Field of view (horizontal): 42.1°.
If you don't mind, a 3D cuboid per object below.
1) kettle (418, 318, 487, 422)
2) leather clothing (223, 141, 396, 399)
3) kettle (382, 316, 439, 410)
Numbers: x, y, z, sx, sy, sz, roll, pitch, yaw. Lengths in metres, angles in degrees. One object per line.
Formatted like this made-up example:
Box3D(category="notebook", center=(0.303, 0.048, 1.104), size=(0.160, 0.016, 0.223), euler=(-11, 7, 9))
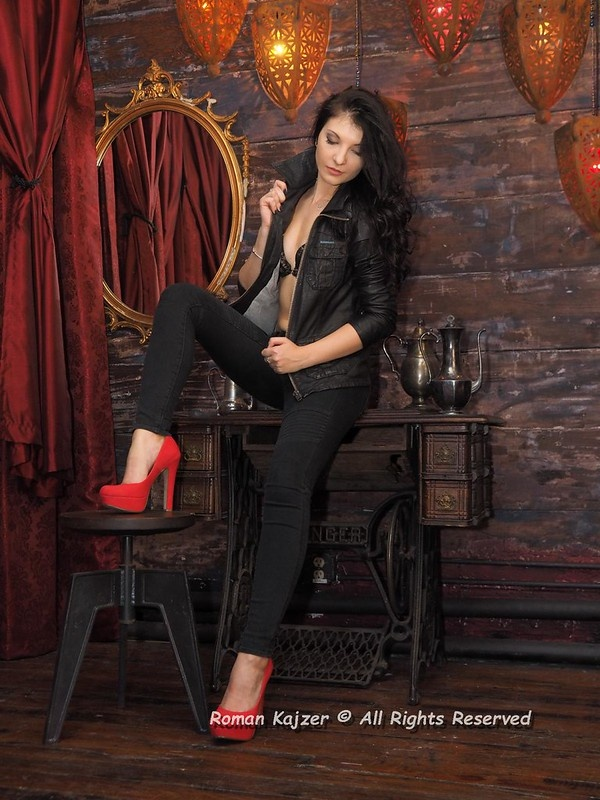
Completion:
Box3D(category="kettle", center=(0.437, -0.098, 2.186), size=(0.171, 0.264, 0.124), euler=(0, 2, -22))
Box3D(category="leather clothing", center=(0.069, -0.317, 2.025), size=(0.419, 0.579, 0.337), euler=(3, 9, 21))
Box3D(category="kettle", center=(0.352, -0.109, 2.329), size=(0.131, 0.272, 0.147), euler=(-6, 9, -43))
